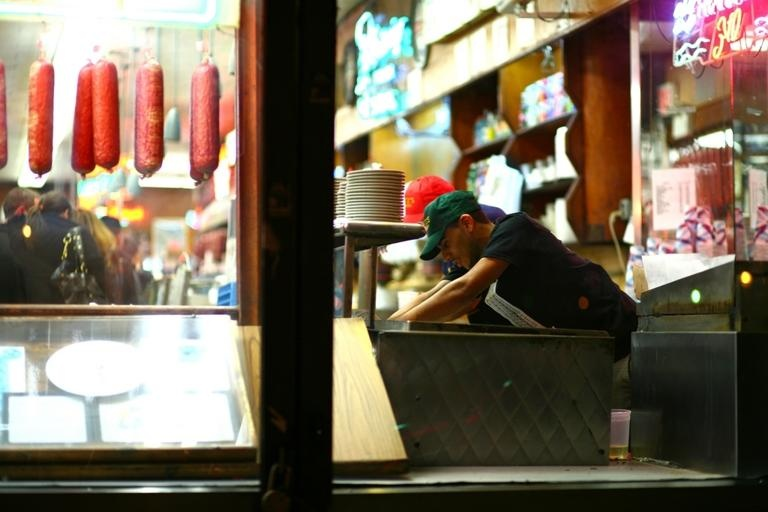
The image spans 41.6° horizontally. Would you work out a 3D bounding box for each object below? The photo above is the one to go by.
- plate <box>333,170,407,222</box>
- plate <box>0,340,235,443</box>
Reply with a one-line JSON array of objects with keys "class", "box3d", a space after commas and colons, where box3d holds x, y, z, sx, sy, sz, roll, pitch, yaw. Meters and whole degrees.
[{"class": "plate", "box3d": [-0.034, -0.223, 3.832, 0.197, 0.145, 0.193, 2, 1, -37]}, {"class": "plate", "box3d": [-0.835, 0.425, 3.213, 0.729, 0.319, 0.261, 0, -4, -9]}]
